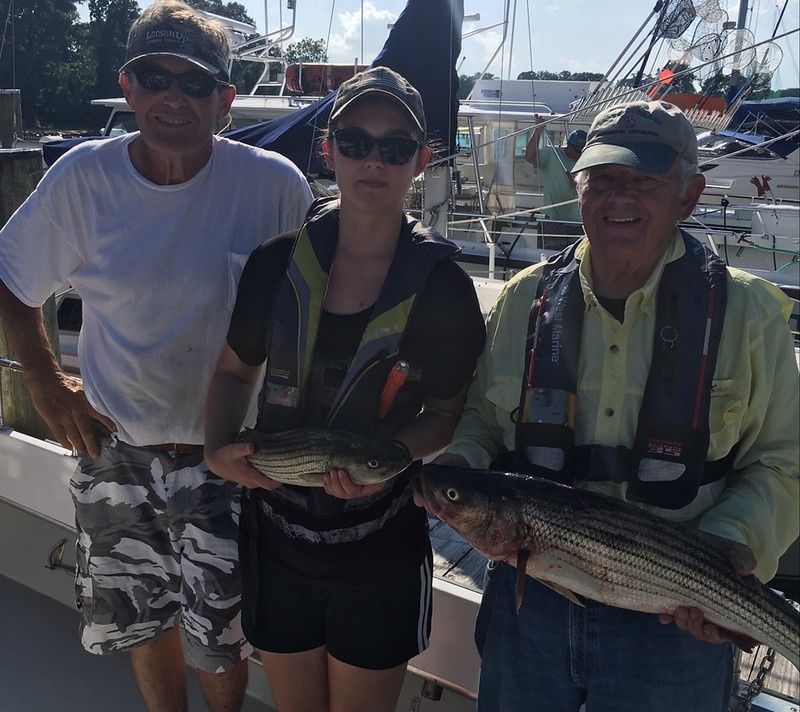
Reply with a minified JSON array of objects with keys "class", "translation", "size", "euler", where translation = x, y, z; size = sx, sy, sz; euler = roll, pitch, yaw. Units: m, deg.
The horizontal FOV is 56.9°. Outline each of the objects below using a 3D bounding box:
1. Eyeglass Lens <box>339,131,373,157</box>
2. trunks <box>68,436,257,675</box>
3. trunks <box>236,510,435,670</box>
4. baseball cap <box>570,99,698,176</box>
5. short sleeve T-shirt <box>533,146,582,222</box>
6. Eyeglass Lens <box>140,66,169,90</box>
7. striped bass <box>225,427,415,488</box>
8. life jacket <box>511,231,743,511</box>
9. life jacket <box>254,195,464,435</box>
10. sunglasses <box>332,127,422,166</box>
[{"class":"Eyeglass Lens","translation":[-0.147,-0.681,2.413],"size":[0.124,0.090,0.057],"euler":[1,13,-6]},{"class":"trunks","translation":[-0.899,0.828,3.007],"size":[0.657,0.947,0.377],"euler":[10,38,-14]},{"class":"trunks","translation":[-0.221,0.638,2.505],"size":[0.635,0.550,0.471],"euler":[-1,-9,10]},{"class":"baseball cap","translation":[0.752,-0.645,2.337],"size":[0.328,0.178,0.235],"euler":[-8,11,-43]},{"class":"short sleeve T-shirt","translation":[1.995,-2.318,9.859],"size":[0.239,1.136,0.451],"euler":[21,47,35]},{"class":"Eyeglass Lens","translation":[-0.926,-1.033,2.788],"size":[0.143,0.089,0.037],"euler":[7,14,17]},{"class":"striped bass","translation":[-0.258,0.298,2.404],"size":[0.570,0.258,0.197],"euler":[3,11,20]},{"class":"life jacket","translation":[0.701,-0.001,2.438],"size":[0.636,0.828,0.455],"euler":[3,13,17]},{"class":"life jacket","translation":[-0.186,-0.085,2.582],"size":[0.491,0.785,0.420],"euler":[11,-12,0]},{"class":"sunglasses","translation":[-0.087,-0.674,2.408],"size":[0.151,0.057,0.161],"euler":[5,-5,-5]}]
